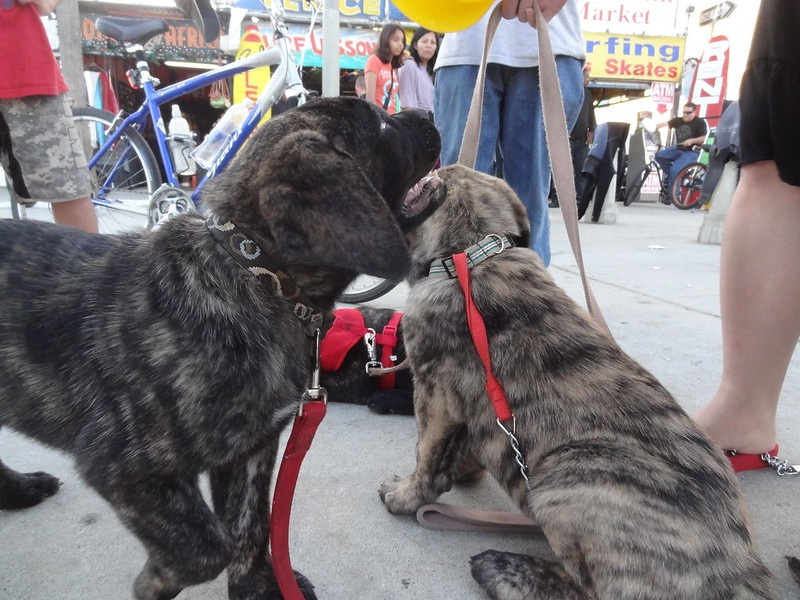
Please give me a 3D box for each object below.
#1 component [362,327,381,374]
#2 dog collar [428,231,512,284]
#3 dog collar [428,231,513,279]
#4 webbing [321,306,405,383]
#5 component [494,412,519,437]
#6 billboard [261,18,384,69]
[{"bbox_3d":[-0.147,0.258,2.749,0.071,0.246,0.044,9,-25,-41],"label":"component"},{"bbox_3d":[0.271,-0.168,2.136,0.274,0.069,0.163,-28,-9,9],"label":"dog collar"},{"bbox_3d":[0.269,-0.164,2.135,0.248,0.060,0.177,-29,-9,20],"label":"dog collar"},{"bbox_3d":[-0.231,0.241,2.930,0.507,0.216,0.421,8,28,-22],"label":"webbing"},{"bbox_3d":[0.353,0.411,1.858,0.022,0.094,0.056,-29,-36,18],"label":"component"},{"bbox_3d":[-1.727,-5.461,11.893,2.458,0.858,0.023,0,10,-3],"label":"billboard"}]
